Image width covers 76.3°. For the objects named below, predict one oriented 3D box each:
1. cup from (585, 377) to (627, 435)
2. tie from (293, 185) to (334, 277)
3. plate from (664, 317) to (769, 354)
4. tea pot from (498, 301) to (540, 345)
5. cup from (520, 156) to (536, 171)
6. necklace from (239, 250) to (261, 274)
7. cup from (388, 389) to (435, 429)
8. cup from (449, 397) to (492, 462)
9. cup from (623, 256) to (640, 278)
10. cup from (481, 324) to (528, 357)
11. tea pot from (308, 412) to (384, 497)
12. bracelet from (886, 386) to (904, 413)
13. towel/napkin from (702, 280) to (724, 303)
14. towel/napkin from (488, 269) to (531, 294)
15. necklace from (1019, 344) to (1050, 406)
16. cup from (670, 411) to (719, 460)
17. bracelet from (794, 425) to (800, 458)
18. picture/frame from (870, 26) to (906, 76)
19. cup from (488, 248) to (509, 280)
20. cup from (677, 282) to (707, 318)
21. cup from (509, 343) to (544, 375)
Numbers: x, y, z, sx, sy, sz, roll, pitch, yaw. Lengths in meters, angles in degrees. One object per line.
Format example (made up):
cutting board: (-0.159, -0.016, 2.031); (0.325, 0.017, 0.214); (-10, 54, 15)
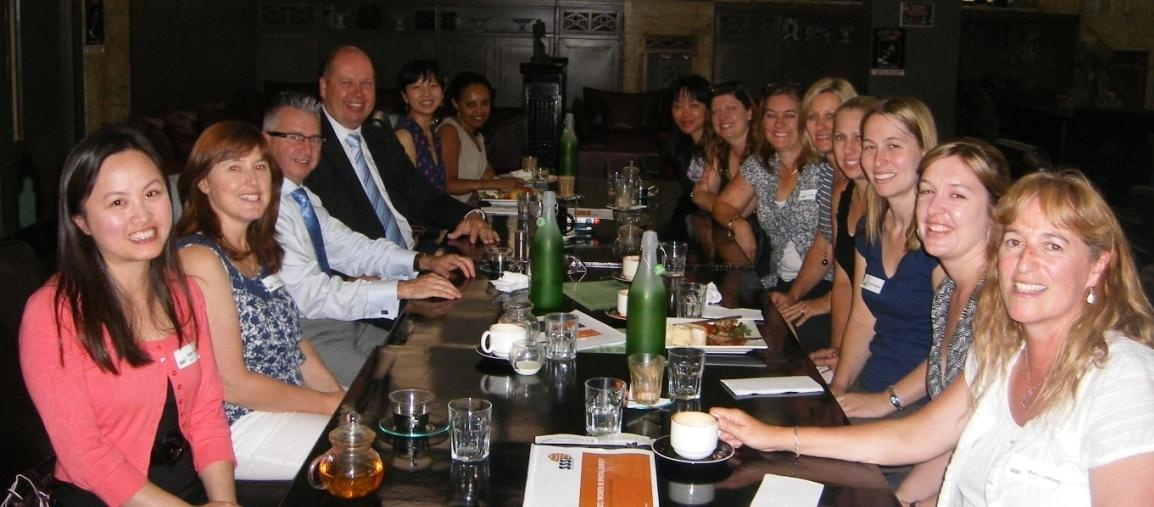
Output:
cup: (0.127, 0.682, 3.261); (0.161, 0.231, 0.119); (1, 11, 3)
tie: (-1.621, -0.113, 4.500); (0.116, 0.677, 0.108); (-8, 32, 15)
plate: (0.710, 0.421, 3.716); (0.379, 0.040, 0.219); (2, 26, 1)
tea pot: (-0.275, 0.357, 3.726); (0.231, 0.169, 0.205); (3, 7, 16)
cup: (-0.428, -0.809, 6.628); (0.169, 0.122, 0.141); (1, 18, -3)
necklace: (-1.728, 0.057, 3.875); (0.107, 0.115, 0.075); (-19, 46, -30)
cup: (-0.741, 0.701, 3.299); (0.203, 0.113, 0.174); (0, 11, -9)
cup: (-0.460, 0.765, 3.212); (0.180, 0.248, 0.182); (1, 11, 0)
cup: (0.322, 0.083, 4.275); (0.117, 0.088, 0.134); (0, -4, 3)
cup: (-0.363, 0.426, 3.603); (0.236, 0.115, 0.142); (-5, 12, -25)
tea pot: (-0.951, 0.862, 3.155); (0.327, 0.275, 0.283); (5, 11, 24)
bracelet: (1.696, 0.778, 3.906); (0.089, 0.113, 0.120); (-19, -2, 6)
towel/napkin: (0.762, 0.213, 4.077); (0.110, 0.039, 0.117); (0, 27, -5)
towel/napkin: (-0.369, 0.162, 4.201); (0.161, 0.047, 0.151); (-8, 19, -33)
necklace: (2.071, 0.558, 3.304); (0.101, 0.282, 0.026); (-1, -27, 45)
cup: (0.507, 0.796, 3.244); (0.241, 0.138, 0.207); (3, 9, 0)
bracelet: (0.977, 0.830, 3.235); (0.030, 0.109, 0.060); (4, 12, 13)
picture/frame: (3.283, -2.099, 7.690); (0.356, 0.491, 0.027); (1, 12, 3)
cup: (-0.463, 0.067, 4.410); (0.201, 0.142, 0.174); (1, 3, -3)
cup: (0.618, 0.256, 3.929); (0.200, 0.171, 0.186); (2, 14, -1)
cup: (-0.238, 0.503, 3.602); (0.186, 0.112, 0.159); (3, 11, 6)
